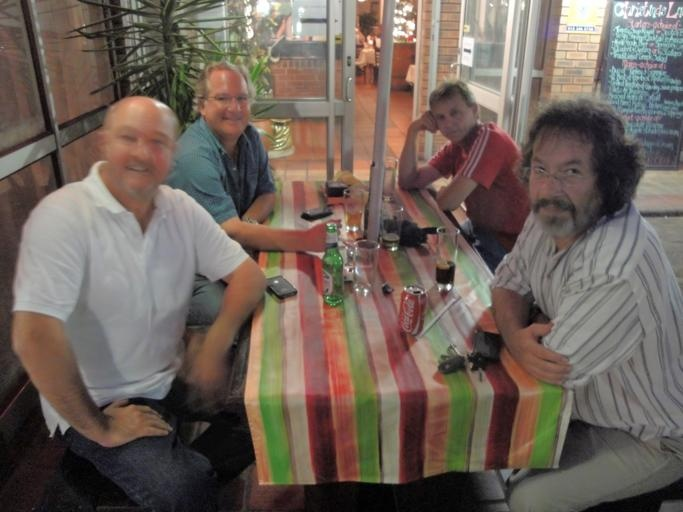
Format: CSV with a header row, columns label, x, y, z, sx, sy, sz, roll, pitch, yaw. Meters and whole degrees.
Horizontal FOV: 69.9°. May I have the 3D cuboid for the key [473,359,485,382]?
label,x,y,z,sx,sy,sz,roll,pitch,yaw
key,0.408,0.343,1.474,0.036,0.022,0.056,-19,55,-1

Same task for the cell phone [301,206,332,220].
label,x,y,z,sx,sy,sz,roll,pitch,yaw
cell phone,-0.121,-0.217,2.474,0.117,0.028,0.082,-16,33,-25

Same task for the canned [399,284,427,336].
label,x,y,z,sx,sy,sz,roll,pitch,yaw
canned,0.232,0.181,1.590,0.108,0.204,0.106,2,31,3

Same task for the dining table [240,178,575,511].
label,x,y,z,sx,sy,sz,roll,pitch,yaw
dining table,0.164,0.370,1.709,0.936,0.396,0.725,-1,21,-6

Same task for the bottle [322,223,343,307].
label,x,y,z,sx,sy,sz,roll,pitch,yaw
bottle,-0.034,0.041,1.752,0.096,0.382,0.099,0,36,0

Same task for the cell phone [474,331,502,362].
label,x,y,z,sx,sy,sz,roll,pitch,yaw
cell phone,0.460,0.280,1.545,0.075,0.022,0.081,12,41,13
